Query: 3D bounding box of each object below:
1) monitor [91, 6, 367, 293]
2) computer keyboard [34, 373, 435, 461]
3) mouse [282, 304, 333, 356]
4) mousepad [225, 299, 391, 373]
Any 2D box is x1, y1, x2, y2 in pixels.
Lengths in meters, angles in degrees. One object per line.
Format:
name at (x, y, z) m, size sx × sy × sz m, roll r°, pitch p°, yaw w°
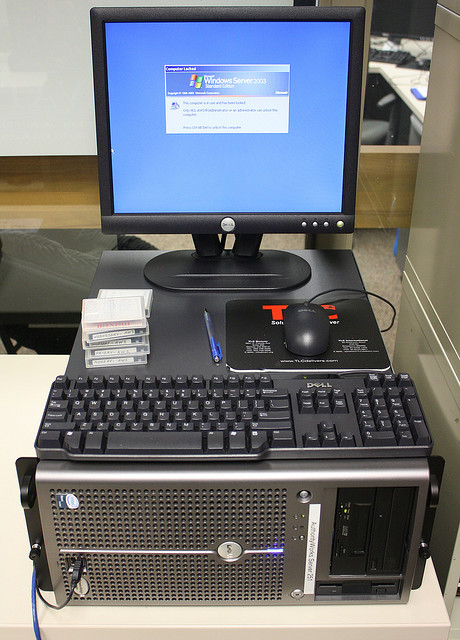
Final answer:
monitor at (0.001, -0.330, 0.908) m, size 0.453 × 0.541 × 0.153 m, roll -4°, pitch 35°, yaw -5°
computer keyboard at (0.002, 0.120, 0.627) m, size 0.432 × 0.063 × 0.164 m, roll -1°, pitch 23°, yaw 0°
mouse at (0.124, -0.001, 0.830) m, size 0.076 × 0.048 × 0.141 m, roll 4°, pitch 28°, yaw 6°
mousepad at (0.115, 0.027, 0.815) m, size 0.191 × 0.029 × 0.147 m, roll -2°, pitch 23°, yaw -3°
